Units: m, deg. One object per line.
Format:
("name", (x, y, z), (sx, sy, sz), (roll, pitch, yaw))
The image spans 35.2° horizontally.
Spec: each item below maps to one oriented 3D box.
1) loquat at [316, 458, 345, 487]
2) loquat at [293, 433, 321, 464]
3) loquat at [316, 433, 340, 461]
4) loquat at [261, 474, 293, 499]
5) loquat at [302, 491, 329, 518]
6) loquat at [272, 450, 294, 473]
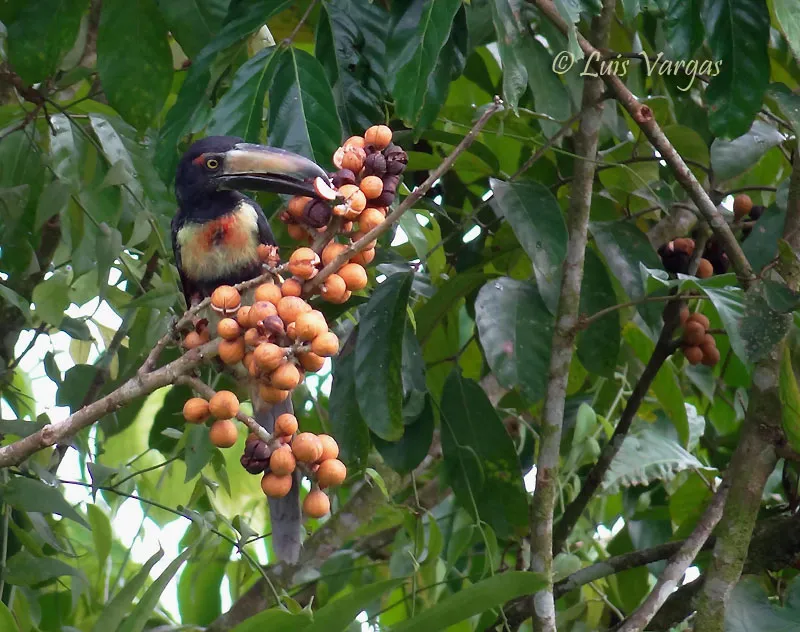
("loquat", (-0.138, 0.309, 2.495), (0.056, 0.069, 0.081), (1, -33, -3))
("loquat", (-0.186, 0.260, 2.485), (0.064, 0.053, 0.045), (-19, -36, 26))
("loquat", (-0.140, 0.260, 2.494), (0.038, 0.056, 0.043), (0, 0, 7))
("loquat", (-0.248, 0.348, 2.539), (0.048, 0.061, 0.053), (10, -66, 1))
("loquat", (-0.164, 0.379, 2.532), (0.046, 0.077, 0.051), (0, 3, -1))
("loquat", (-0.233, 0.288, 2.493), (0.048, 0.043, 0.043), (3, -32, -5))
